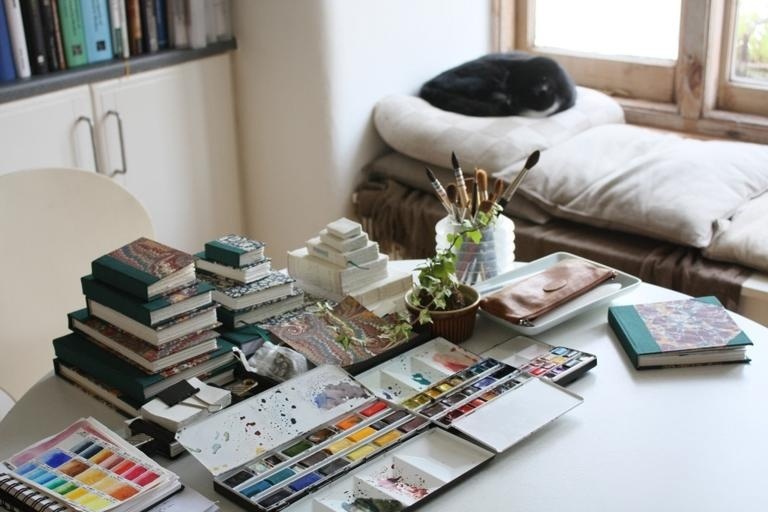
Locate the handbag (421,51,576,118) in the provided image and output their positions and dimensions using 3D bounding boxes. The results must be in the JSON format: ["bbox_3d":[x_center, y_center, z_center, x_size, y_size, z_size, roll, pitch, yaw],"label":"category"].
[{"bbox_3d":[0.438,-0.650,2.372,0.368,0.116,0.389,15,24,38],"label":"handbag"}]

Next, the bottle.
[{"bbox_3d":[0.237,-0.006,1.565,0.194,0.159,0.178,-3,22,-3],"label":"bottle"}]

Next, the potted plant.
[{"bbox_3d":[0.079,0.043,1.384,0.270,0.241,0.173,23,45,31],"label":"potted plant"}]
